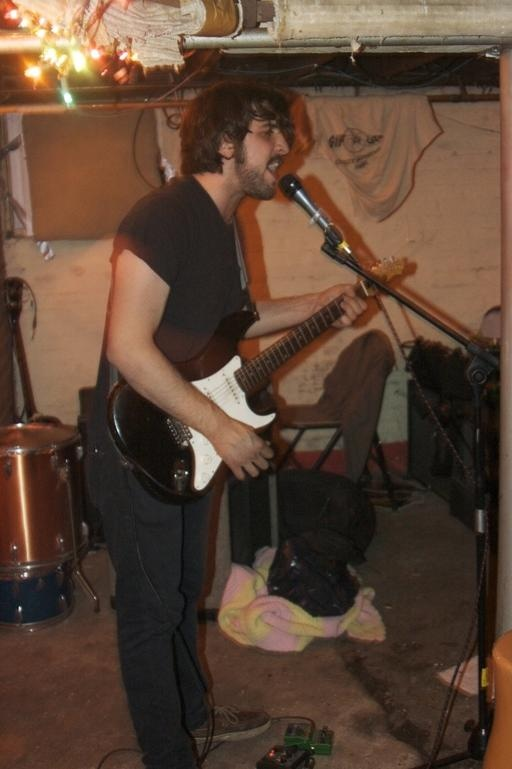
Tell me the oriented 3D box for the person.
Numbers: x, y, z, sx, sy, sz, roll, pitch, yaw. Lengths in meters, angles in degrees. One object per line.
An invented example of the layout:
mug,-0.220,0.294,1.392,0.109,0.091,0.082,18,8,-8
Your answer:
person,-0.174,0.164,2.464,0.543,2.226,0.856,2,10,24
